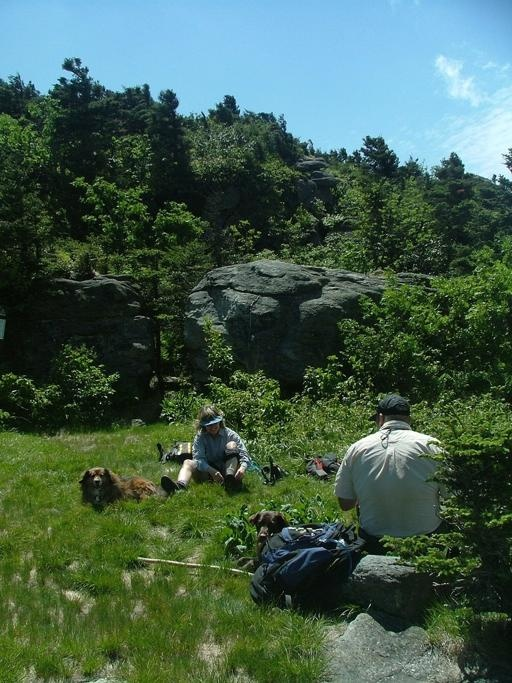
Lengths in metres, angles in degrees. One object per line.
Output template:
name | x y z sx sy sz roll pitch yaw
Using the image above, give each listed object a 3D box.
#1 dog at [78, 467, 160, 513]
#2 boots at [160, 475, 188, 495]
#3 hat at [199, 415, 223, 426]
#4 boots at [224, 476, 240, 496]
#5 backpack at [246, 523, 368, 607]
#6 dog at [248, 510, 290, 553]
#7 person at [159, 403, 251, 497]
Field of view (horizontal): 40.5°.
dog | -1.494 1.654 7.746 0.681 0.241 0.471 6 -8 -40
boots | -0.938 1.659 8.031 0.279 0.199 0.316 -2 5 -8
hat | -0.545 1.014 8.705 0.282 0.150 0.217 -2 5 -6
boots | -0.265 1.693 8.216 0.202 0.177 0.373 -2 4 -3
backpack | 0.349 1.725 5.263 0.543 0.276 0.681 -11 -16 -41
dog | 0.129 1.651 6.296 0.347 0.370 0.638 5 5 6
person | -0.535 1.336 8.650 0.914 1.033 1.274 -7 -7 10
